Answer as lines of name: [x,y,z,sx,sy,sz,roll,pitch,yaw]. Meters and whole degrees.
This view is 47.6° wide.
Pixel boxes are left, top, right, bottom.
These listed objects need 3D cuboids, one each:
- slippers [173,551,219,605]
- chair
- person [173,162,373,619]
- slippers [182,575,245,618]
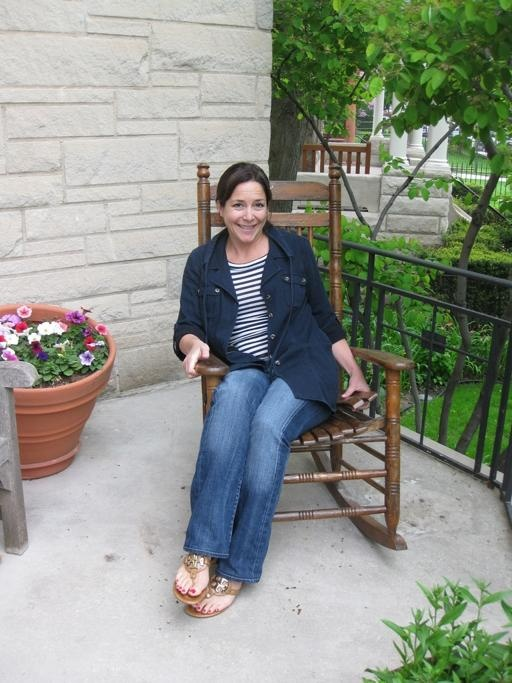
slippers: [-0.165,0.616,1.530,0.067,0.063,0.184,5,4,0]
chair: [0.252,-0.014,2.110,0.893,1.131,0.760,11,8,-6]
person: [0.080,0.092,1.772,0.647,1.191,0.894,1,21,-8]
slippers: [-0.107,0.698,1.579,0.064,0.065,0.178,2,-3,20]
